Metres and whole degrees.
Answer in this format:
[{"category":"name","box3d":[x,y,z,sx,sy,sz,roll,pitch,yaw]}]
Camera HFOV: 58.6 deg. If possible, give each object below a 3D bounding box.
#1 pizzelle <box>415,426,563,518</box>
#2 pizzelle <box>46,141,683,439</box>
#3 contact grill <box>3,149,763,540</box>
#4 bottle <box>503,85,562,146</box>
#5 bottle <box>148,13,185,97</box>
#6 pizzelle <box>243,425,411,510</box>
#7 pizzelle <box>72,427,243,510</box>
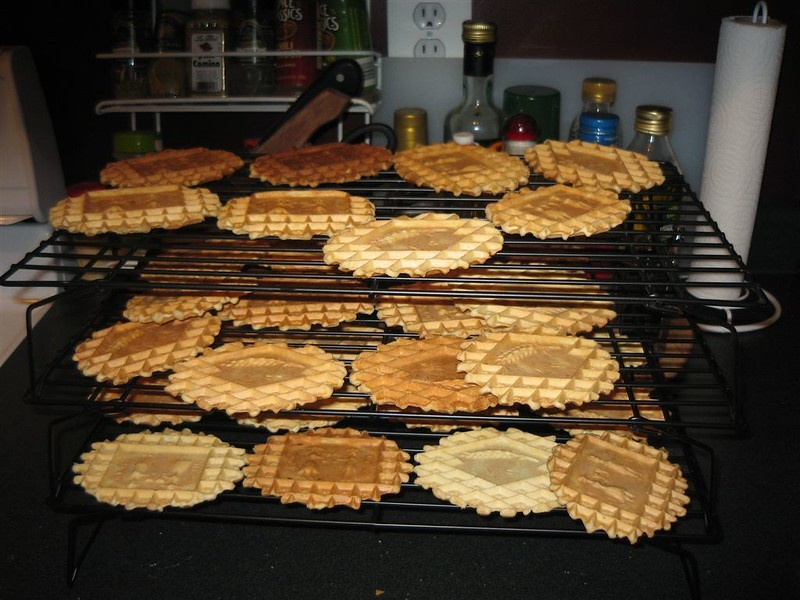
[{"category":"pizzelle","box3d":[0.156,0.248,1.066,0.229,0.020,0.214,5,24,22]},{"category":"pizzelle","box3d":[-0.073,0.002,1.135,0.875,0.125,0.539,1,33,3]},{"category":"contact grill","box3d":[-0.006,0.114,1.142,1.081,0.319,0.670,2,44,2]},{"category":"bottle","box3d":[0.361,-0.510,1.932,0.168,0.143,0.164,4,21,6]},{"category":"bottle","box3d":[-0.584,-0.617,1.781,0.104,0.208,0.254,-5,22,-14]},{"category":"pizzelle","box3d":[-0.107,0.251,1.061,0.252,0.057,0.158,1,18,1]},{"category":"pizzelle","box3d":[-0.345,0.254,1.074,0.201,0.027,0.233,-27,27,-26]}]
